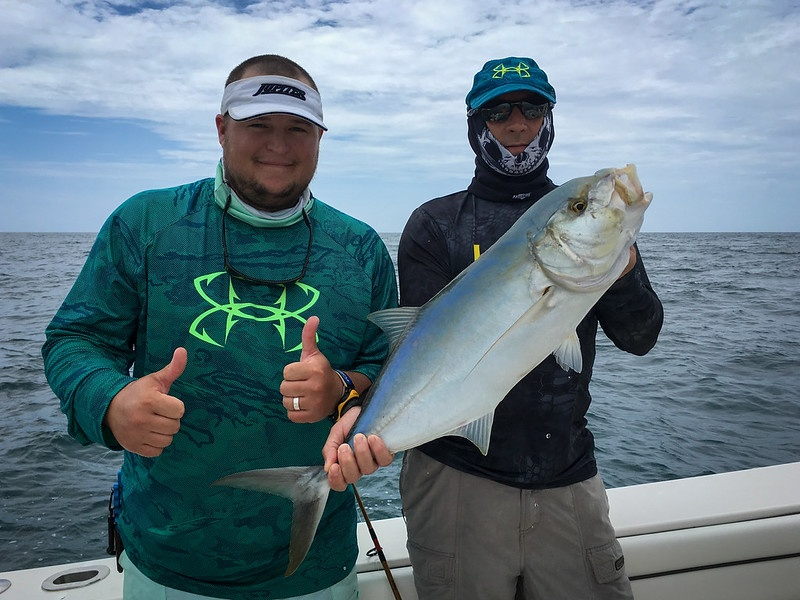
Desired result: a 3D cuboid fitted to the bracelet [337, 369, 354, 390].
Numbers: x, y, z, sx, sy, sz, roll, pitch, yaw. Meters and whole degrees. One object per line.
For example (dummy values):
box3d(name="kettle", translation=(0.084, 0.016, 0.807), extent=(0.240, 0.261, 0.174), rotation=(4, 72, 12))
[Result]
box3d(name="bracelet", translation=(-0.252, 0.395, 2.514), extent=(0.038, 0.092, 0.070), rotation=(-34, -14, 5))

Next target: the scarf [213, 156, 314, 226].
box3d(name="scarf", translation=(-0.731, -0.538, 2.826), extent=(0.583, 0.205, 0.612), rotation=(10, -2, -41))
